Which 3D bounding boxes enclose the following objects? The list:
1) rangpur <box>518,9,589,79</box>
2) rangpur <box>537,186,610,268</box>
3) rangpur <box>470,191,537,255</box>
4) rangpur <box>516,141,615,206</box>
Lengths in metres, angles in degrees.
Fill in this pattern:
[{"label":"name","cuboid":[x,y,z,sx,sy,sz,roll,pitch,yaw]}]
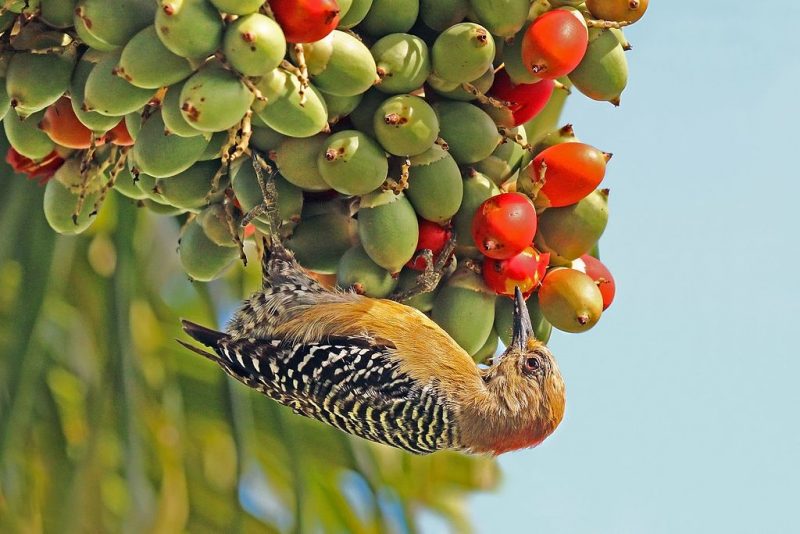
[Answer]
[{"label":"rangpur","cuboid":[0.342,-0.500,3.015,0.134,0.164,0.119,25,-49,-5]},{"label":"rangpur","cuboid":[0.422,-0.097,3.181,0.129,0.143,0.202,36,-75,-18]},{"label":"rangpur","cuboid":[0.230,-0.096,3.069,0.131,0.126,0.134,-5,-85,17]},{"label":"rangpur","cuboid":[0.385,-0.213,3.127,0.208,0.117,0.129,-26,-85,35]}]
